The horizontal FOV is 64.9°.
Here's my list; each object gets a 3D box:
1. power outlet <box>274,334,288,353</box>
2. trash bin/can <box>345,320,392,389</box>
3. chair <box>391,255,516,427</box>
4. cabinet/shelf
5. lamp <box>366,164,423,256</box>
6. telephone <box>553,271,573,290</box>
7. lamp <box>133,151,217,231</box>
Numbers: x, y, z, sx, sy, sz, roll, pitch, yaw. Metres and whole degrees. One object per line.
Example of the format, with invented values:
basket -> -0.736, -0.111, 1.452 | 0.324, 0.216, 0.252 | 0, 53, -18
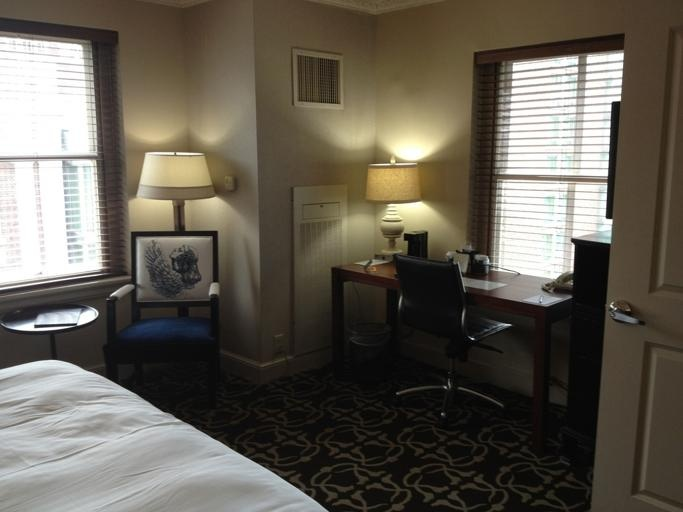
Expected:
power outlet -> -0.466, 0.668, 4.140 | 0.049, 0.166, 0.150 | 6, 8, 40
trash bin/can -> 0.270, 0.764, 4.252 | 0.399, 0.389, 0.392 | 3, 10, 14
chair -> 0.797, 0.495, 3.681 | 0.757, 0.990, 0.697 | 5, 8, 41
cabinet/shelf -> 1.398, 0.524, 3.115 | 0.227, 1.281, 0.344 | 5, 15, 19
lamp -> 0.434, -0.395, 4.285 | 0.412, 0.760, 0.410 | 8, 17, 30
telephone -> 1.433, 0.153, 3.432 | 0.074, 0.119, 0.138 | -9, 17, -31
lamp -> -1.228, -0.424, 4.047 | 0.535, 0.691, 0.553 | 9, 17, 18
